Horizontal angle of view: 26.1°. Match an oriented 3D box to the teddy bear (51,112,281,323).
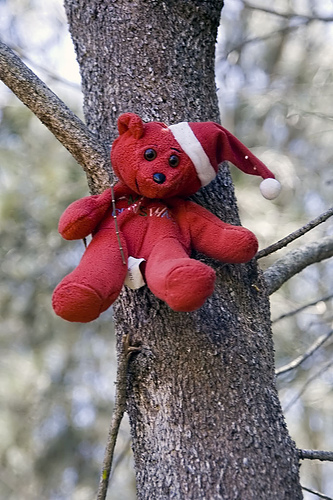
[{"bbox_3d":[-0.019,-0.098,1.981,0.688,0.480,0.485,-12,30,-34],"label":"teddy bear"}]
